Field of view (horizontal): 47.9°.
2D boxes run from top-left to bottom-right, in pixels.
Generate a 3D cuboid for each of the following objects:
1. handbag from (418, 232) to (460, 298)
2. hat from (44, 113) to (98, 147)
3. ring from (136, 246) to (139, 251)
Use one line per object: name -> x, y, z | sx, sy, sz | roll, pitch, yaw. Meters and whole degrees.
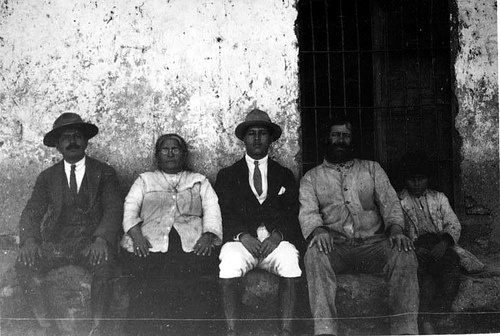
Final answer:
handbag -> 2.227, 1.155, 6.755 | 0.436, 0.701, 0.257 | 2, -5, -4
hat -> -2.263, -0.498, 6.977 | 0.448, 0.186, 0.488 | -14, -27, -14
ring -> -1.342, 0.947, 6.684 | 0.055, 0.039, 0.005 | -1, 0, 8
